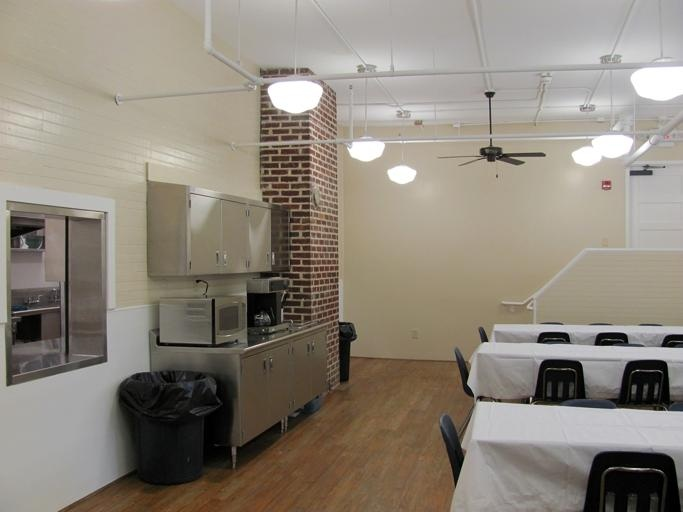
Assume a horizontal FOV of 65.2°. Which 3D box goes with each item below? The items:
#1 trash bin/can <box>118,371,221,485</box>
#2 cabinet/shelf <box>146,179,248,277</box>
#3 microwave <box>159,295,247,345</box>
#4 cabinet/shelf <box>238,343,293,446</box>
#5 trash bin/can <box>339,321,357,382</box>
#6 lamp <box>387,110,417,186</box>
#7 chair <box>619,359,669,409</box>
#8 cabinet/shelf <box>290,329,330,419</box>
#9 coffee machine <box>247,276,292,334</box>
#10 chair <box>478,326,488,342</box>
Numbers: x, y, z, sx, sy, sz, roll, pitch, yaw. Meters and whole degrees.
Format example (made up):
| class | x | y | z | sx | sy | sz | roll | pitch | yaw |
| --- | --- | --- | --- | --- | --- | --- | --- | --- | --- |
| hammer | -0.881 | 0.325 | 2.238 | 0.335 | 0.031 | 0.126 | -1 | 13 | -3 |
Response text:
| class | x | y | z | sx | sy | sz | roll | pitch | yaw |
| --- | --- | --- | --- | --- | --- | --- | --- | --- | --- |
| trash bin/can | -1.578 | 1.540 | 5.247 | 0.877 | 0.983 | 0.986 | -1 | -1 | -2 |
| cabinet/shelf | -1.523 | -0.270 | 5.456 | 0.359 | 0.720 | 1.050 | -2 | -4 | 17 |
| microwave | -1.441 | 0.648 | 5.386 | 0.557 | 0.380 | 0.559 | -1 | -4 | 9 |
| cabinet/shelf | -0.826 | 1.431 | 5.571 | 0.398 | 0.915 | 1.081 | -2 | -2 | 13 |
| trash bin/can | 0.068 | 1.482 | 8.468 | 0.263 | 0.891 | 0.592 | 0 | 4 | 1 |
| lamp | 1.009 | -1.818 | 8.860 | 0.533 | 1.327 | 2.192 | 1 | 3 | 6 |
| chair | 2.887 | 1.185 | 5.235 | 0.492 | 0.505 | 0.436 | 0 | -7 | 5 |
| cabinet/shelf | -0.418 | 1.444 | 6.584 | 0.546 | 0.787 | 1.043 | -2 | -2 | 14 |
| coffee machine | -0.941 | 0.578 | 6.515 | 0.476 | 0.872 | 0.924 | -2 | -3 | 14 |
| chair | 2.092 | 1.156 | 7.928 | 0.126 | 0.113 | 0.477 | -28 | -27 | 19 |
